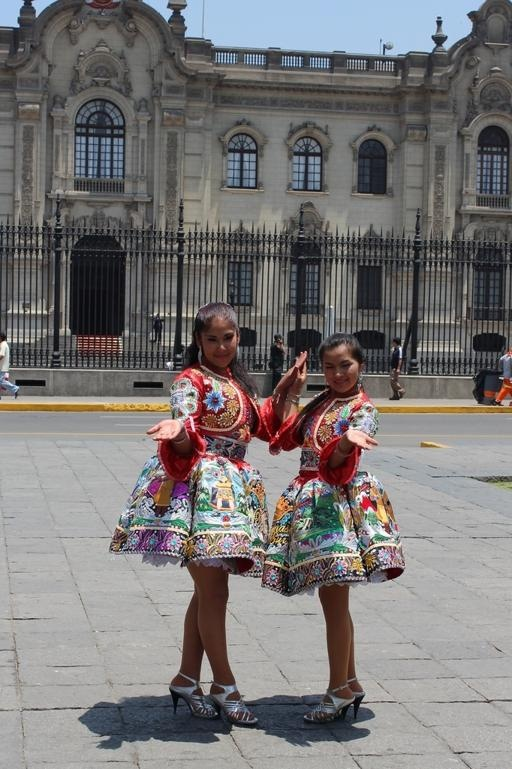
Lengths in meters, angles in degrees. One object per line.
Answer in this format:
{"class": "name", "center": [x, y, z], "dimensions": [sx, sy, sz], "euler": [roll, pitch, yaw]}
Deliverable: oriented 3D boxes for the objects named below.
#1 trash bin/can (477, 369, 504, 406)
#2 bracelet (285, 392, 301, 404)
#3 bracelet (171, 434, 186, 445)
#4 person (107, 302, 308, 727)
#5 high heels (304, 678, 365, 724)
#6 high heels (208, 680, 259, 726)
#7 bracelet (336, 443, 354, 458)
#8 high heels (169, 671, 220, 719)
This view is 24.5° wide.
{"class": "trash bin/can", "center": [4.531, 0.038, 23.083], "dimensions": [0.702, 0.674, 0.528], "euler": [1, 4, 14]}
{"class": "bracelet", "center": [0.156, 0.057, 4.898], "dimensions": [0.053, 0.031, 0.048], "euler": [4, -3, 7]}
{"class": "bracelet", "center": [-0.280, 0.201, 4.316], "dimensions": [0.046, 0.046, 0.054], "euler": [0, -4, -1]}
{"class": "person", "center": [-0.193, 0.471, 4.591], "dimensions": [0.645, 1.573, 0.787], "euler": [1, 4, 11]}
{"class": "high heels", "center": [0.298, 1.204, 4.472], "dimensions": [0.240, 0.103, 0.119], "euler": [-5, -3, -24]}
{"class": "high heels", "center": [-0.080, 1.198, 4.437], "dimensions": [0.177, 0.142, 0.166], "euler": [0, 4, -3]}
{"class": "bracelet", "center": [0.332, 0.242, 4.357], "dimensions": [0.056, 0.024, 0.068], "euler": [0, -12, 3]}
{"class": "high heels", "center": [-0.228, 1.190, 4.508], "dimensions": [0.233, 0.155, 0.114], "euler": [2, 3, 26]}
